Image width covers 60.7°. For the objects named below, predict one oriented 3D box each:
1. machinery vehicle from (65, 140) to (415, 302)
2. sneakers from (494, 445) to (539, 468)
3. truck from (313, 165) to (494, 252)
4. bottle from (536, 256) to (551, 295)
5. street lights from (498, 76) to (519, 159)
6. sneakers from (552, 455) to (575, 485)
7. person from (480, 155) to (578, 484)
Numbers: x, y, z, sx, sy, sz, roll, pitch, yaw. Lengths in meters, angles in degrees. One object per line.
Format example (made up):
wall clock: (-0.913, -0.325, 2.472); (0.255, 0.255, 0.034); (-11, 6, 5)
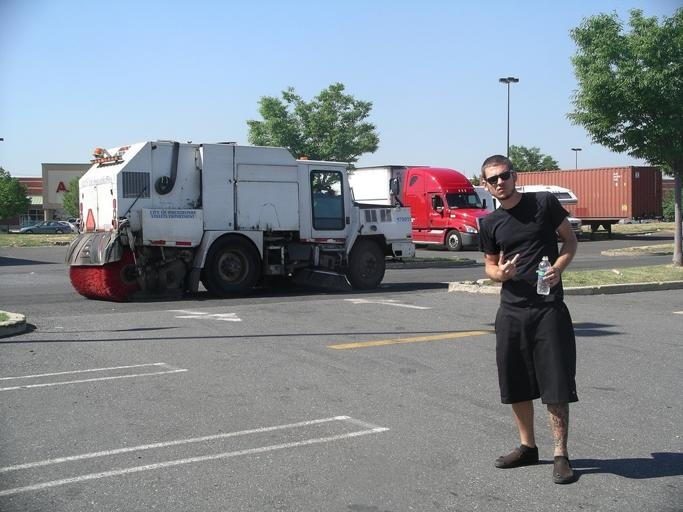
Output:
machinery vehicle: (-2.157, -0.994, 16.476); (8.341, 4.011, 2.826); (-1, 4, -16)
sneakers: (1.444, 1.648, 4.826); (0.379, 0.171, 0.152); (1, -4, -17)
truck: (4.134, -2.958, 33.589); (2.909, 4.897, 8.949); (-20, 17, -40)
bottle: (1.592, 0.166, 4.587); (0.098, 0.307, 0.100); (0, 4, 0)
street lights: (7.236, -5.971, 25.458); (0.739, 3.546, 0.670); (3, 4, 22)
sneakers: (1.725, 1.636, 4.496); (0.220, 0.165, 0.199); (0, 4, 1)
person: (1.494, 0.447, 4.709); (0.763, 2.532, 0.607); (1, 4, 22)
